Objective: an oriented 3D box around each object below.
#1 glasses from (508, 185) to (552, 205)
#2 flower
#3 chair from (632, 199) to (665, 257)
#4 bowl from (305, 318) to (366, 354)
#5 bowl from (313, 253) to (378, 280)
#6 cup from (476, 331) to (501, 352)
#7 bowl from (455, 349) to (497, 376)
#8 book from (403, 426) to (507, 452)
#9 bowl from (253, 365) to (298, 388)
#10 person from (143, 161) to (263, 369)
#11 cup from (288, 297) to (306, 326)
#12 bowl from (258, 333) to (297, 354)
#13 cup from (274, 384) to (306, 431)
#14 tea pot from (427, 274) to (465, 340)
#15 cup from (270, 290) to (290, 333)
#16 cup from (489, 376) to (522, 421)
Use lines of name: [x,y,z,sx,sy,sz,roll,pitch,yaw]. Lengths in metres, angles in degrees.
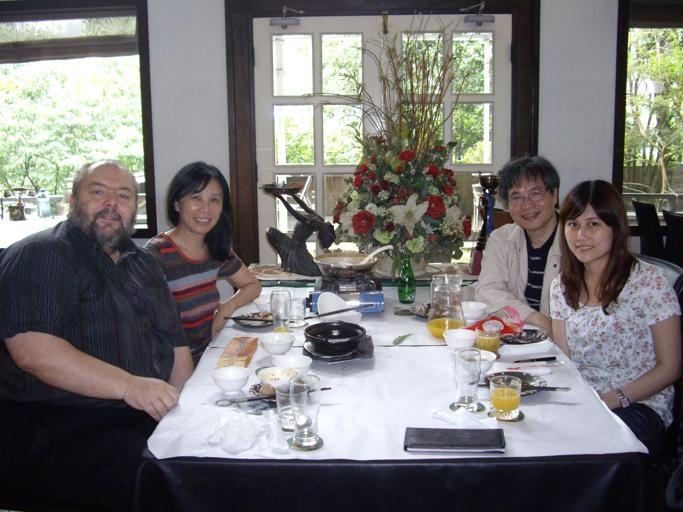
glasses: [0.876,-0.281,2.459,0.177,0.087,0.077,1,15,18]
flower: [0.389,-0.614,3.012,0.788,1.194,0.654,-6,9,-24]
chair: [2.193,-0.205,3.880,0.213,0.344,0.231,16,11,37]
bowl: [-0.020,0.275,1.748,0.200,0.071,0.215,-2,10,0]
bowl: [0.016,0.030,2.459,0.253,0.083,0.429,-6,14,-5]
cup: [0.474,0.279,1.717,0.065,0.063,0.064,0,10,0]
bowl: [0.383,0.298,1.495,0.118,0.051,0.118,0,6,0]
book: [0.272,0.434,1.242,0.140,0.019,0.090,0,1,1]
bowl: [-0.188,0.350,1.519,0.079,0.029,0.079,1,6,0]
person: [-0.641,0.092,2.398,0.479,0.955,0.509,12,13,30]
cup: [-0.156,0.219,2.082,0.091,0.104,0.092,0,4,0]
bowl: [-0.208,0.285,1.723,0.076,0.032,0.076,1,5,0]
cup: [-0.130,0.369,1.323,0.101,0.117,0.108,0,5,0]
tea pot: [0.382,0.188,1.933,0.144,0.222,0.142,1,0,0]
cup: [-0.239,0.214,1.980,0.096,0.159,0.095,-3,-7,0]
cup: [0.423,0.367,1.366,0.088,0.103,0.096,0,4,0]
